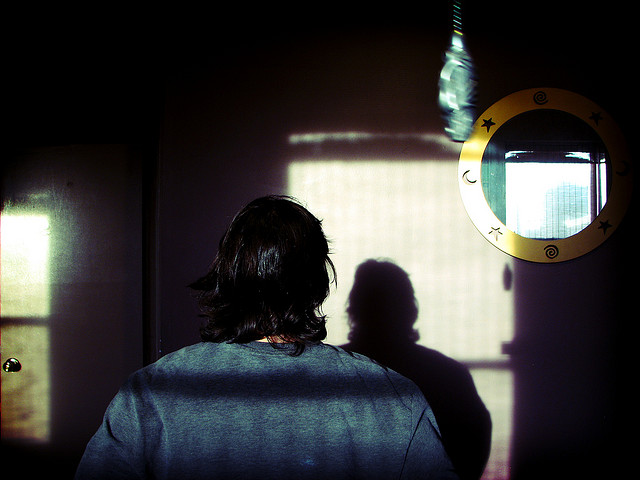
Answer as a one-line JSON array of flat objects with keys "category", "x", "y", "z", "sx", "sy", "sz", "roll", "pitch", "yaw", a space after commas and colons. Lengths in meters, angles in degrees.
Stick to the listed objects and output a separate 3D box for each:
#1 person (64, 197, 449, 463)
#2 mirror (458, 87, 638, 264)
[{"category": "person", "x": -0.254, "y": 0.491, "z": 3.448, "sx": 1.900, "sy": 1.333, "sz": 0.683, "roll": 4, "pitch": -4, "yaw": -17}, {"category": "mirror", "x": 1.209, "y": -0.318, "z": 3.992, "sx": 0.814, "sy": 0.811, "sz": 0.038, "roll": -11, "pitch": 8, "yaw": -7}]
